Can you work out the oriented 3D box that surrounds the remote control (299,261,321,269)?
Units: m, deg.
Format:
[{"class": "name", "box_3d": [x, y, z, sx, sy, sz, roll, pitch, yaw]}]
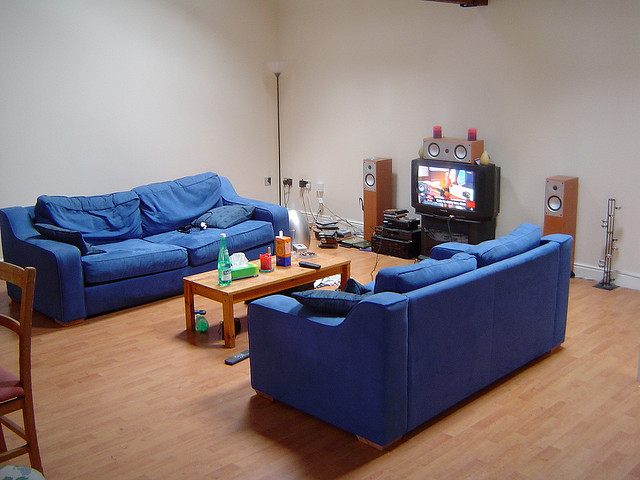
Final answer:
[{"class": "remote control", "box_3d": [-0.097, 0.212, 4.331, 0.131, 0.037, 0.074, 5, 15, 28]}]

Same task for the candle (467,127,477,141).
[{"class": "candle", "box_3d": [1.756, -1.224, 5.551, 0.092, 0.141, 0.181, 3, 13, 14]}]

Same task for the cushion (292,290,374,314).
[{"class": "cushion", "box_3d": [0.065, 0.372, 2.912, 0.441, 0.124, 0.228, 8, 15, 29]}]

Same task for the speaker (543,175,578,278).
[{"class": "speaker", "box_3d": [2.551, -0.134, 5.126, 0.437, 1.096, 0.267, -6, 14, -25]}]

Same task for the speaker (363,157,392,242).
[{"class": "speaker", "box_3d": [0.781, -0.536, 6.464, 0.405, 1.092, 0.232, 0, 13, 1]}]

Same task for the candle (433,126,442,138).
[{"class": "candle", "box_3d": [1.408, -1.297, 5.762, 0.124, 0.144, 0.123, -6, 9, -31]}]

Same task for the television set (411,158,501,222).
[{"class": "television set", "box_3d": [1.641, -0.625, 5.833, 1.021, 0.704, 0.552, 13, 23, 41]}]

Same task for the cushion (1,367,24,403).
[{"class": "cushion", "box_3d": [-1.450, 0.665, 2.211, 0.180, 0.094, 0.093, 12, 17, 41]}]

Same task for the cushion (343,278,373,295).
[{"class": "cushion", "box_3d": [0.256, 0.300, 3.180, 0.082, 0.114, 0.276, 9, 18, 38]}]

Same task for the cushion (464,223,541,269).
[{"class": "cushion", "box_3d": [1.349, 0.040, 3.436, 0.840, 0.177, 0.186, -11, 17, -40]}]

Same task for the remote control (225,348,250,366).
[{"class": "remote control", "box_3d": [-0.637, 0.913, 3.744, 0.117, 0.036, 0.232, 13, 18, 43]}]

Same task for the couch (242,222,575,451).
[{"class": "couch", "box_3d": [0.803, 0.493, 3.606, 2.141, 1.037, 1.145, -12, 14, -40]}]

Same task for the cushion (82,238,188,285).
[{"class": "cushion", "box_3d": [-1.781, 0.215, 4.650, 0.988, 0.256, 0.247, -9, 16, -36]}]

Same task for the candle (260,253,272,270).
[{"class": "candle", "box_3d": [-0.486, 0.191, 4.309, 0.110, 0.127, 0.113, 2, 14, 8]}]

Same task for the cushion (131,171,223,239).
[{"class": "cushion", "box_3d": [-1.607, -0.403, 5.689, 1.135, 0.551, 0.375, -10, 23, 7]}]
